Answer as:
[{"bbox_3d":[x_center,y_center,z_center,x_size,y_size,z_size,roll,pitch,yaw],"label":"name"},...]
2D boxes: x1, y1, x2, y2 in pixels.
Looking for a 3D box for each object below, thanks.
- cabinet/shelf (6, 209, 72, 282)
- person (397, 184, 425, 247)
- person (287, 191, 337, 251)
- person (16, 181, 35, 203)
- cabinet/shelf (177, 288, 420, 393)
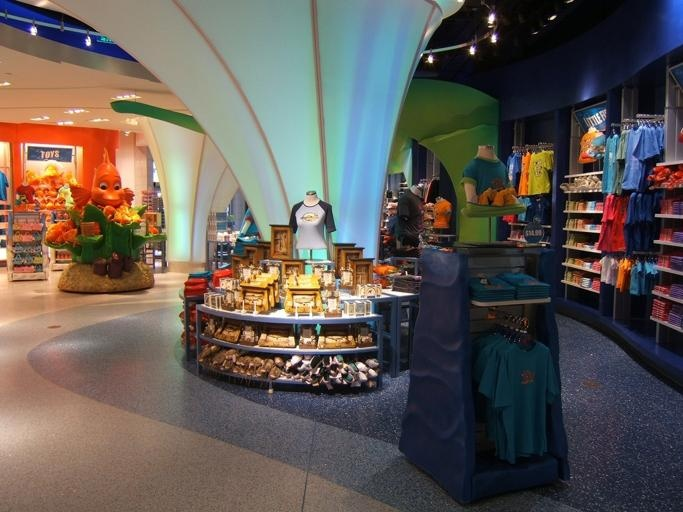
[{"bbox_3d":[-7.023,-0.228,10.725,0.692,1.599,0.748,6,9,44],"label":"cabinet/shelf"},{"bbox_3d":[1.576,-0.943,11.049,0.619,1.398,0.807,1,7,8],"label":"person"},{"bbox_3d":[-0.370,-0.429,5.627,0.623,0.826,0.293,0,-10,3],"label":"person"},{"bbox_3d":[-8.414,-1.664,12.690,0.383,0.492,0.859,-4,8,-29],"label":"person"},{"bbox_3d":[-0.406,0.823,4.941,2.326,0.856,0.960,1,7,10],"label":"cabinet/shelf"}]
